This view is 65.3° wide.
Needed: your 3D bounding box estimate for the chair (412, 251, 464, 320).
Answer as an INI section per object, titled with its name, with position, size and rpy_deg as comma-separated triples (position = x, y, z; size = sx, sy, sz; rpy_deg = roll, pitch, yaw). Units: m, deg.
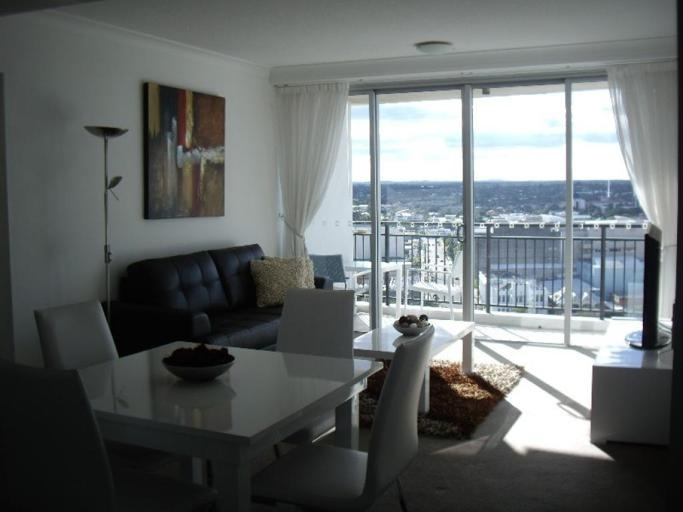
[chair]
position = 1.087, 0.301, 6.088
size = 0.645, 0.769, 0.629
rpy_deg = 1, 4, 3
